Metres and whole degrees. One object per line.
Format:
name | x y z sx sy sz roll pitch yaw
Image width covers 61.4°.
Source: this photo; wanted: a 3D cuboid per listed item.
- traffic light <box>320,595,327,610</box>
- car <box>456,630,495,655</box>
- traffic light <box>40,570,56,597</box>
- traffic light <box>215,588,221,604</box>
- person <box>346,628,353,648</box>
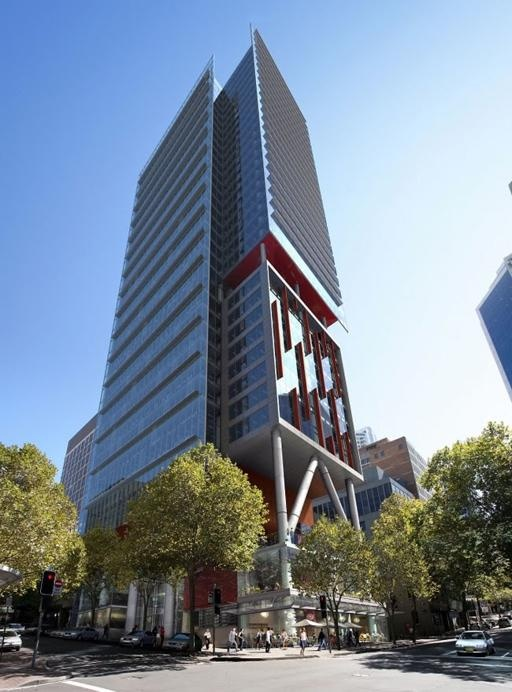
traffic light | 4.391 16.852 28.350 0.321 0.852 0.818 -3 -29 1
car | 11.400 15.486 22.439 1.387 0.928 2.696 -21 -34 28
traffic light | -7.668 8.667 15.850 0.431 0.778 0.917 7 -31 -19
traffic light | -2.047 13.023 22.443 0.280 0.683 0.714 -5 -29 3
person | 7.885 24.396 36.266 0.575 1.019 2.569 -7 -30 8
